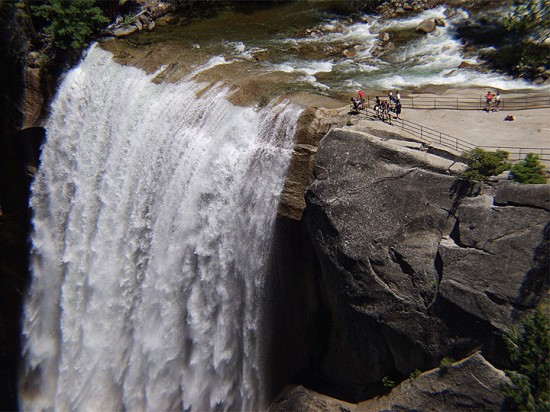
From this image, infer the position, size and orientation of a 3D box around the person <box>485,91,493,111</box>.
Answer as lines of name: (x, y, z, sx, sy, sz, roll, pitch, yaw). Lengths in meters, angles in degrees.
person: (13.646, -6.744, 29.914, 0.446, 1.109, 1.296, 5, 22, 23)

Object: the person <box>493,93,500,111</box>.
person: (14.075, -6.619, 29.721, 0.353, 1.083, 1.008, 6, 23, 24)
